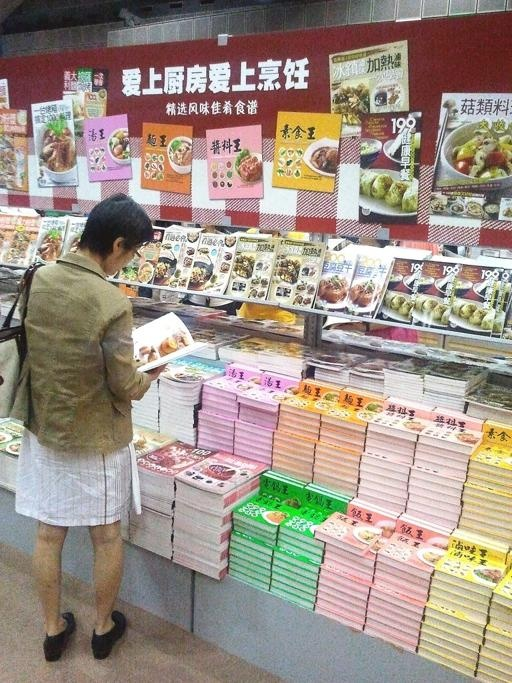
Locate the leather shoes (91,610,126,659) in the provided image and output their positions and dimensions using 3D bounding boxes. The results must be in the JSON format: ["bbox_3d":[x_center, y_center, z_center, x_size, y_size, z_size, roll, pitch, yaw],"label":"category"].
[{"bbox_3d":[-0.633,1.260,2.251,0.075,0.078,0.190,2,16,3],"label":"leather shoes"}]

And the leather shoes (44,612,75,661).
[{"bbox_3d":[-0.823,1.263,2.239,0.067,0.077,0.188,4,19,4],"label":"leather shoes"}]
